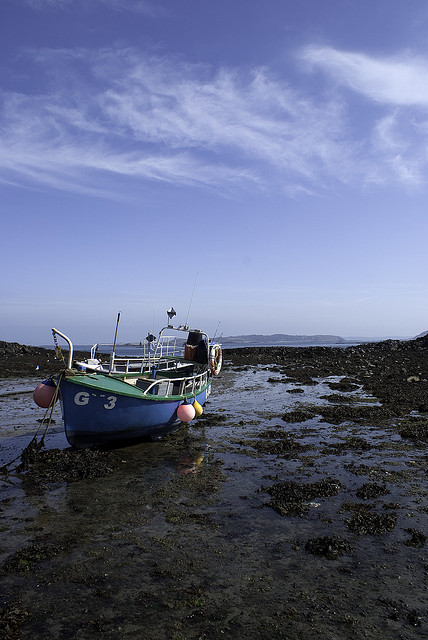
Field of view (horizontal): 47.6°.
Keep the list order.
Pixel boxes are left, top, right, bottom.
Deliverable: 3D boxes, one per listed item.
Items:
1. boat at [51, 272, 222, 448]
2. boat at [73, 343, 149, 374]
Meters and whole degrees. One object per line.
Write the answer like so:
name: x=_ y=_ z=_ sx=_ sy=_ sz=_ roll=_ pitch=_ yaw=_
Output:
boat: x=-2.400 y=1.837 z=14.429 sx=3.057 sy=4.374 sz=7.143 roll=3 pitch=-5 yaw=25
boat: x=-4.107 y=1.639 z=18.787 sx=2.710 sy=1.319 sz=1.395 roll=2 pitch=-1 yaw=-22
